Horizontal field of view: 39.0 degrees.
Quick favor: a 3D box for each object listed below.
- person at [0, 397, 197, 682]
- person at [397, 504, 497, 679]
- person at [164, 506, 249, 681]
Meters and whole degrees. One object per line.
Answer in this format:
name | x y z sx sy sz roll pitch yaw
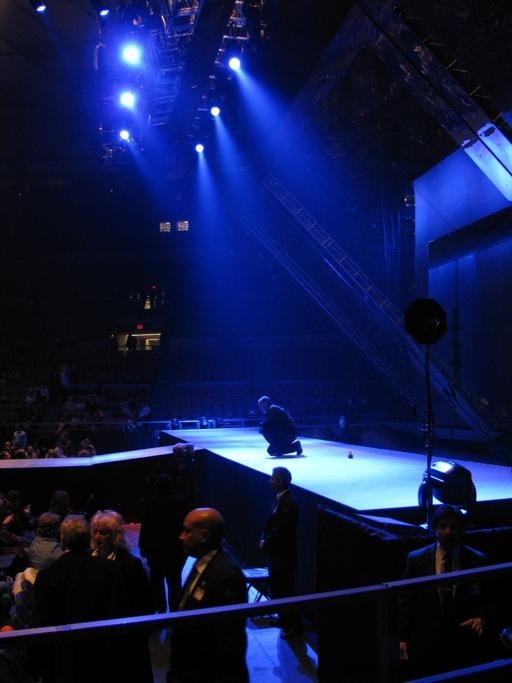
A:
person | -1.497 1.633 6.966 0.992 1.277 1.800 5 -10 -38
person | 0.976 1.240 3.727 0.380 0.812 1.182 1 -15 16
person | -0.192 1.169 3.386 0.363 0.766 0.806 6 -15 -4
